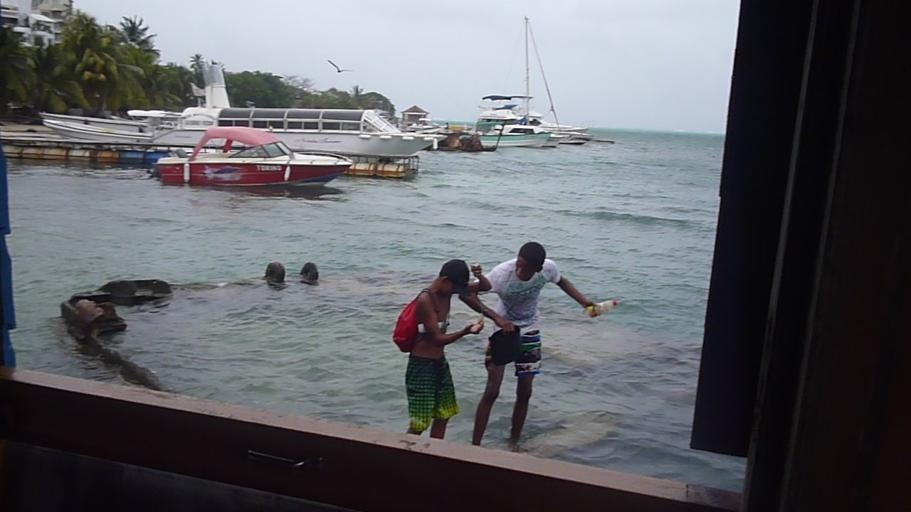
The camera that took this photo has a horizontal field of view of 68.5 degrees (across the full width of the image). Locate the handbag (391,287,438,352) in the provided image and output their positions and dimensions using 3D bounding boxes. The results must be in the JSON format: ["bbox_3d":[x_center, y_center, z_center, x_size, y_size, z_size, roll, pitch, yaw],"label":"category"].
[{"bbox_3d":[-0.356,0.551,5.319,0.280,0.572,0.490,-2,11,-4],"label":"handbag"}]

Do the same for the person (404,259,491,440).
[{"bbox_3d":[-0.173,0.812,5.419,0.754,1.546,0.419,-4,13,-16],"label":"person"}]

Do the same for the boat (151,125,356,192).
[{"bbox_3d":[-6.354,-3.374,22.433,6.828,2.052,4.060,1,9,8],"label":"boat"}]
